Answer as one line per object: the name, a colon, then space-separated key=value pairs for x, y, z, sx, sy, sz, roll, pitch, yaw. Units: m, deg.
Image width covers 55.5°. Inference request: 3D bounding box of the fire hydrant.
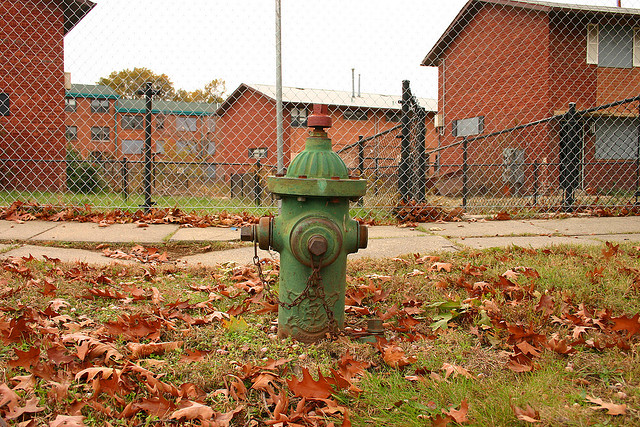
fire hydrant: x=-0.069 y=0.093 z=4.172 sx=0.780 sy=1.552 sz=0.302 roll=1 pitch=8 yaw=-9
